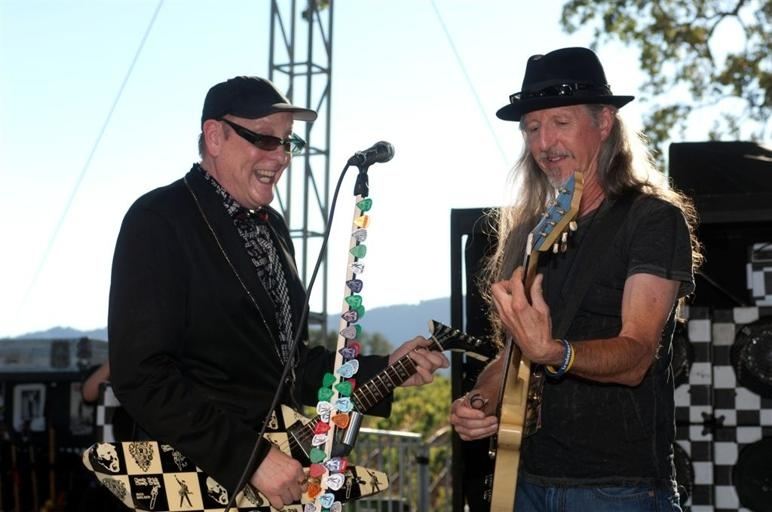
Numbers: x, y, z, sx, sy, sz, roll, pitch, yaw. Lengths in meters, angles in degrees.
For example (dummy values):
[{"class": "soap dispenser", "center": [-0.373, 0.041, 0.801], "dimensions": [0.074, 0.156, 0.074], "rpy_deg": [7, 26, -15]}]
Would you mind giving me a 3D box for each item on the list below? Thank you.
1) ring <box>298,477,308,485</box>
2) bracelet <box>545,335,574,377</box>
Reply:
[{"class": "ring", "center": [-0.568, 1.534, 7.667], "dimensions": [0.049, 0.037, 0.047], "rpy_deg": [-2, -7, 0]}, {"class": "bracelet", "center": [1.112, 0.660, 7.268], "dimensions": [0.124, 0.221, 0.237], "rpy_deg": [-2, -10, -20]}]
